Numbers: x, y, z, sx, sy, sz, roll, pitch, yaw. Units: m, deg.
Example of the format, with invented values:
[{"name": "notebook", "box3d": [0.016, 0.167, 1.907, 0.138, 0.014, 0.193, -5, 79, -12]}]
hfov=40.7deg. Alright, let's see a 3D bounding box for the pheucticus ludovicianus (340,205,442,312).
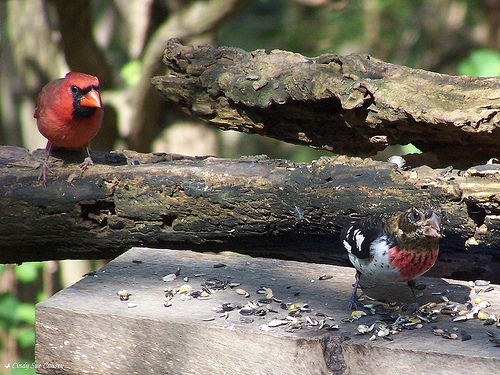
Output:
[{"name": "pheucticus ludovicianus", "box3d": [0.947, 0.327, 4.471, 0.652, 0.571, 0.306, 16, 28, 25]}]
